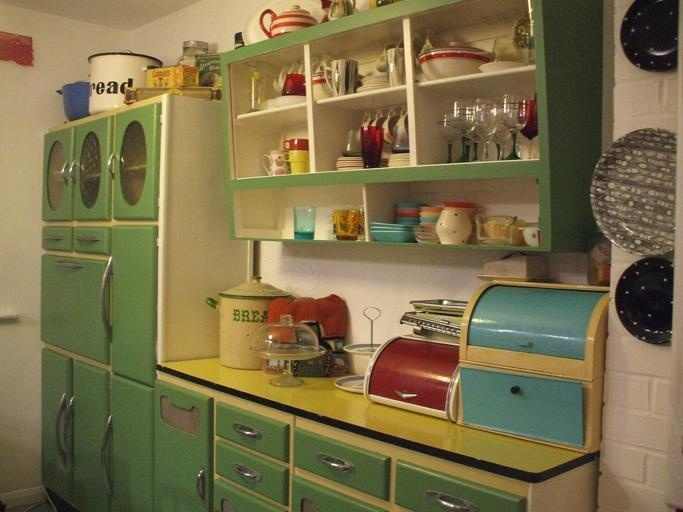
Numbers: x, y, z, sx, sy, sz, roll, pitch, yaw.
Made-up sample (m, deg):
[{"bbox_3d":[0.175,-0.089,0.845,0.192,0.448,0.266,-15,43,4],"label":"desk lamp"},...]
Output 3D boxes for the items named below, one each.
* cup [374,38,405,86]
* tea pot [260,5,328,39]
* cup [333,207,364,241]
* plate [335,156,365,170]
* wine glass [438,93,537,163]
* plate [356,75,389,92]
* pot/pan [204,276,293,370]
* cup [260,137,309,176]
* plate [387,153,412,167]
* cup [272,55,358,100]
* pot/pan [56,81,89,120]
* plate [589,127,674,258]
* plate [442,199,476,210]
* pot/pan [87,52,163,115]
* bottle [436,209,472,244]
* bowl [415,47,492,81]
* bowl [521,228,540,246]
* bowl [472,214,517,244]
[{"bbox_3d":[0.211,-0.808,2.363,0.111,0.228,0.269,-2,4,-1],"label":"cup"},{"bbox_3d":[-0.260,-1.092,2.700,0.272,0.143,0.201,8,16,32],"label":"tea pot"},{"bbox_3d":[0.029,-0.145,2.543,0.141,0.128,0.135,0,-3,0],"label":"cup"},{"bbox_3d":[0.042,-0.397,2.495,0.081,0.034,0.080,-3,4,-41],"label":"plate"},{"bbox_3d":[0.561,-0.490,2.138,0.099,0.136,0.321,-4,7,-33],"label":"wine glass"},{"bbox_3d":[0.134,-0.730,2.393,0.113,0.043,0.113,-1,5,-1],"label":"plate"},{"bbox_3d":[-0.473,0.307,2.902,0.497,0.429,0.370,2,1,-9],"label":"pot/pan"},{"bbox_3d":[-0.290,-0.489,2.816,0.295,0.213,0.132,0,1,31],"label":"cup"},{"bbox_3d":[0.233,-0.384,2.304,0.067,0.039,0.067,4,5,39],"label":"plate"},{"bbox_3d":[-0.101,-0.800,2.585,0.350,0.140,0.218,5,8,43],"label":"cup"},{"bbox_3d":[-1.667,-1.004,3.653,0.202,0.193,0.253,1,9,23],"label":"pot/pan"},{"bbox_3d":[0.941,-0.206,1.825,0.242,0.407,0.069,0,4,26],"label":"plate"},{"bbox_3d":[0.476,-0.203,2.250,0.129,0.030,0.048,-4,5,-27],"label":"plate"},{"bbox_3d":[-1.358,-1.078,3.529,0.424,0.324,0.396,1,-5,-9],"label":"pot/pan"},{"bbox_3d":[0.441,-0.119,2.218,0.134,0.146,0.085,-1,4,9],"label":"bottle"},{"bbox_3d":[0.456,-0.763,2.279,0.305,0.133,0.310,1,7,0],"label":"bowl"},{"bbox_3d":[0.691,-0.069,2.045,0.059,0.047,0.052,1,2,-15],"label":"bowl"},{"bbox_3d":[0.576,-0.094,2.112,0.127,0.085,0.106,2,-6,-12],"label":"bowl"}]
